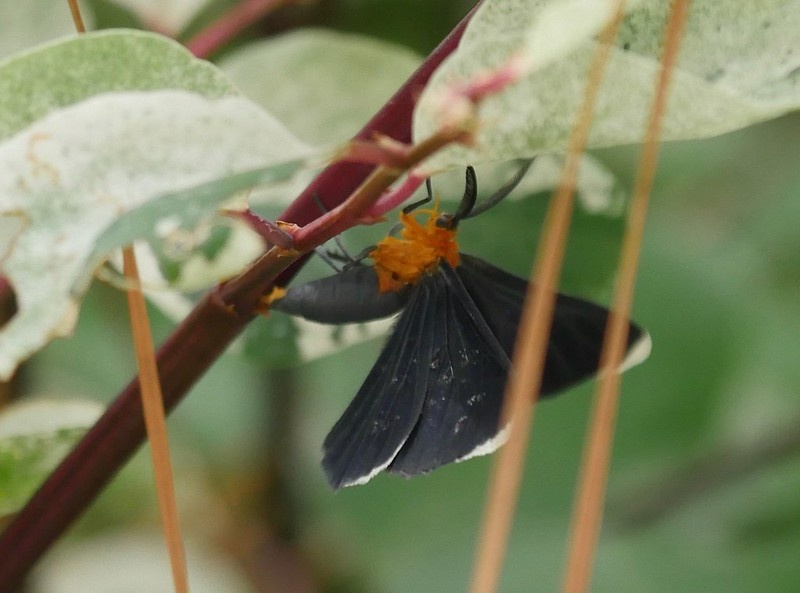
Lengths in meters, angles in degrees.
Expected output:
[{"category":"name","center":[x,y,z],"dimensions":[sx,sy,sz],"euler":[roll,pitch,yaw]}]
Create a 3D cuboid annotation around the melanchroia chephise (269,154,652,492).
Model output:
[{"category":"melanchroia chephise","center":[0.032,0.008,0.505],"dimensions":[0.156,0.067,0.149],"euler":[27,91,22]}]
